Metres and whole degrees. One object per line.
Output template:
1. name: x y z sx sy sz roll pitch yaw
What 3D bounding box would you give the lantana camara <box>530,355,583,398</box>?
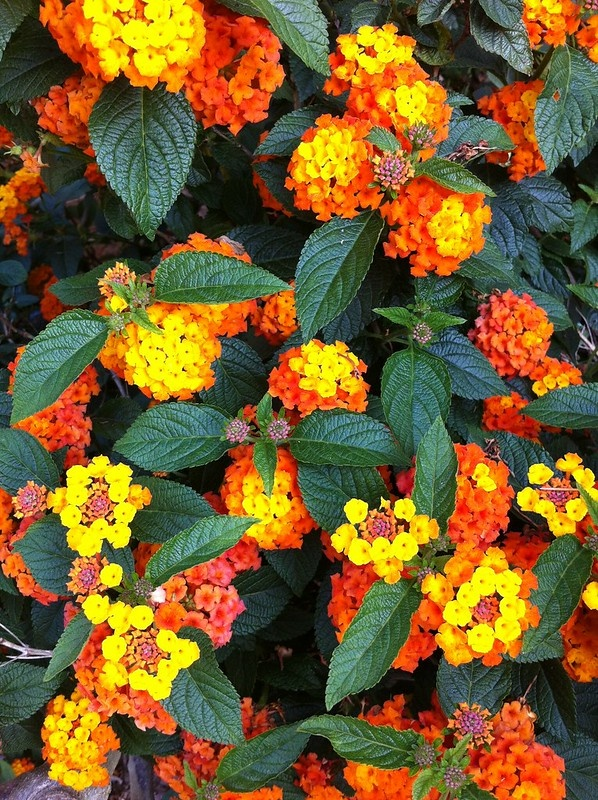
1. lantana camara: 0.611 -0.059 2.032 0.119 0.039 0.102 -6 56 5

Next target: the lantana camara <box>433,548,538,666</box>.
1. lantana camara: 0.344 0.393 1.584 0.180 0.248 0.189 5 53 2

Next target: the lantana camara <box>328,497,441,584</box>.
1. lantana camara: 0.157 0.251 1.582 0.169 0.170 0.254 -1 12 -8

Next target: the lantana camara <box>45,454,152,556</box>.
1. lantana camara: -0.377 0.200 1.667 0.177 0.199 0.206 10 20 13
